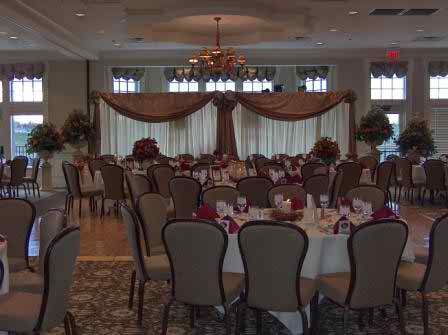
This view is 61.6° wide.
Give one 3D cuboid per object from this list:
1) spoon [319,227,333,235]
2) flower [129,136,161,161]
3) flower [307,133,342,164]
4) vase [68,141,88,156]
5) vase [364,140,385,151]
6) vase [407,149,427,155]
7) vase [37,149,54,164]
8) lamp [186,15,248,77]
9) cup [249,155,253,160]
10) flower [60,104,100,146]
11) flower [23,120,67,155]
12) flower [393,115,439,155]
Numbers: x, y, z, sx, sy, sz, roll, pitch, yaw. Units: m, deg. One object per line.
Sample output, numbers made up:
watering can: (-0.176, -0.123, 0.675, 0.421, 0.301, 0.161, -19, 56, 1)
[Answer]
spoon: (1.014, 0.629, 3.747, 0.126, 0.037, 0.206, -1, 4, 4)
flower: (-1.734, -0.394, 8.463, 0.549, 0.473, 0.578, 0, 4, 0)
flower: (2.367, -0.425, 8.909, 0.803, 0.895, 0.784, 1, 8, 6)
vase: (-4.470, -0.582, 11.529, 0.553, 0.484, 0.595, 3, 4, 26)
vase: (4.552, -0.686, 11.338, 0.423, 0.311, 0.445, 0, -2, -4)
vase: (5.949, -0.485, 11.542, 0.290, 0.121, 0.325, 1, -2, -5)
vase: (-5.477, -0.332, 11.481, 0.450, 0.365, 0.483, 2, 3, -13)
lamp: (-0.133, -2.900, 9.035, 1.249, 1.370, 1.354, -1, 23, -2)
cup: (0.827, -0.300, 11.462, 0.113, 0.215, 0.129, 1, 0, 11)
flower: (-4.336, -1.188, 11.093, 0.894, 1.047, 0.391, -3, 5, -26)
flower: (-5.448, -0.873, 11.399, 0.986, 1.080, 0.998, -7, 21, -36)
flower: (5.862, -1.003, 11.417, 1.119, 1.341, 1.108, 4, 6, 31)
